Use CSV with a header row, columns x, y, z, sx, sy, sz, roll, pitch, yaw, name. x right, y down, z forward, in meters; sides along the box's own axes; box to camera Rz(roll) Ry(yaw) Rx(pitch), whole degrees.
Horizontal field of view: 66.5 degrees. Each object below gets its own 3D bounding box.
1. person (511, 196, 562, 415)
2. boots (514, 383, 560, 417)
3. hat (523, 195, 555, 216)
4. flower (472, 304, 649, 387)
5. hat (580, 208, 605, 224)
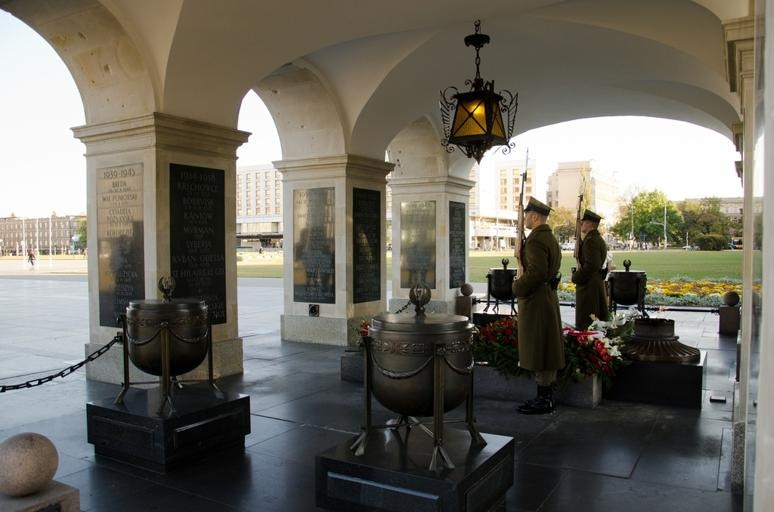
x,y,z,sx,sy,sz,roll,pitch,yaw,name
1.982,0.649,7.806,0.707,2.720,0.467,2,0,4,person
1.999,1.907,7.780,0.650,0.464,0.260,1,-5,12,boots
1.954,-0.640,7.711,0.284,0.131,0.236,24,19,31,hat
2.443,1.286,8.248,1.247,0.624,1.699,-1,1,1,flower
3.516,-0.686,10.224,0.296,0.145,0.239,11,11,32,hat
